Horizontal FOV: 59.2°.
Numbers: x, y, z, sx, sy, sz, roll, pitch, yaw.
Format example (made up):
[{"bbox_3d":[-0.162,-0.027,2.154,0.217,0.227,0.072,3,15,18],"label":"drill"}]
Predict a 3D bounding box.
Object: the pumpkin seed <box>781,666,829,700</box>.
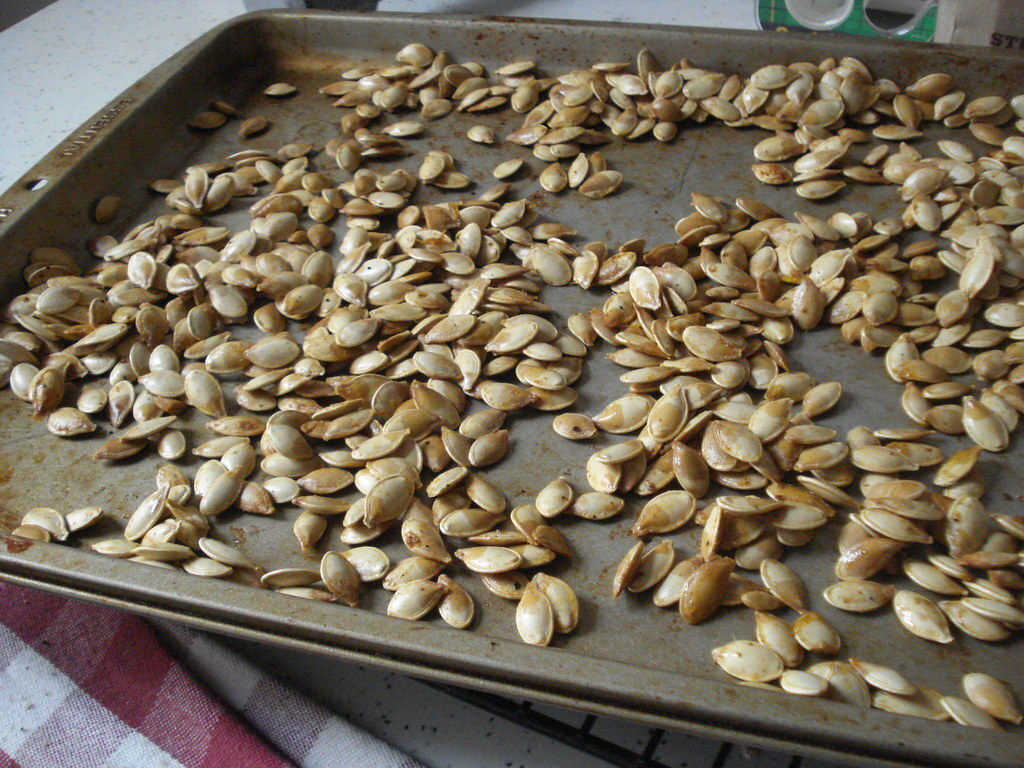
[{"bbox_3d":[0.332,0.345,1.029,0.041,0.007,0.032,17,36,36],"label":"pumpkin seed"}]
